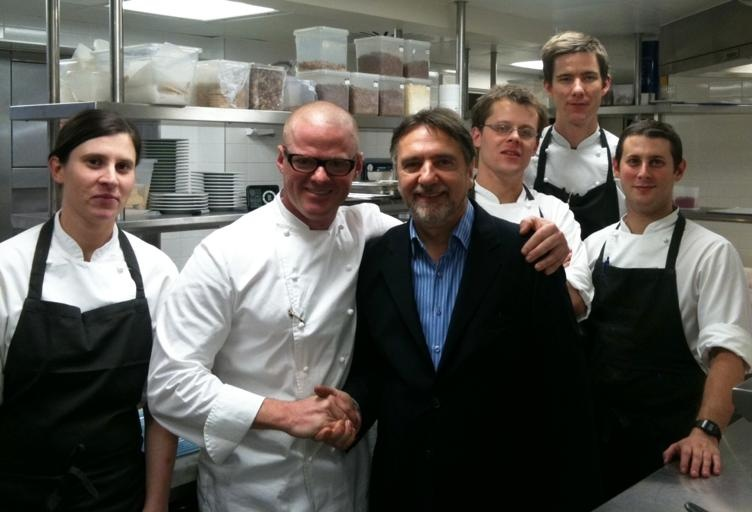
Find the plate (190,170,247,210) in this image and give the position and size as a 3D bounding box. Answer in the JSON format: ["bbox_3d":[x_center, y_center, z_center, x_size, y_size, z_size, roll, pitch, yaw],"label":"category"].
[{"bbox_3d":[-0.890,-0.352,3.274,0.286,0.198,0.288,1,2,12],"label":"plate"}]

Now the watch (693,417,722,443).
[{"bbox_3d":[1.164,0.604,2.083,0.082,0.062,0.050,6,14,24],"label":"watch"}]
